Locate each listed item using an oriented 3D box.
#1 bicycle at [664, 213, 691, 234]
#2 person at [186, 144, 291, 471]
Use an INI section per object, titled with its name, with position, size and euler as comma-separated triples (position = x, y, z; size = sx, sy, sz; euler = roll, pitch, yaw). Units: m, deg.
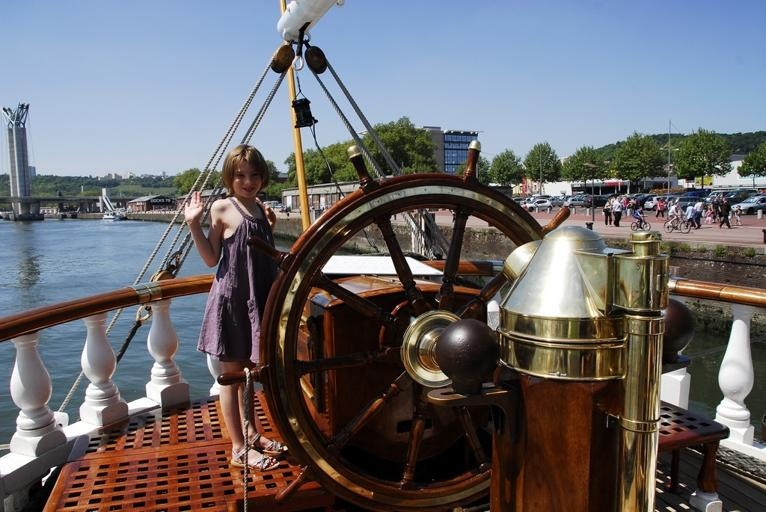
[bicycle]
position = 11.417, -1.251, 20.507
size = 1.145, 0.802, 0.601
euler = -1, 8, 7
[person]
position = -0.651, 0.230, 2.381
size = 0.384, 1.441, 0.777
euler = -3, 7, -12
